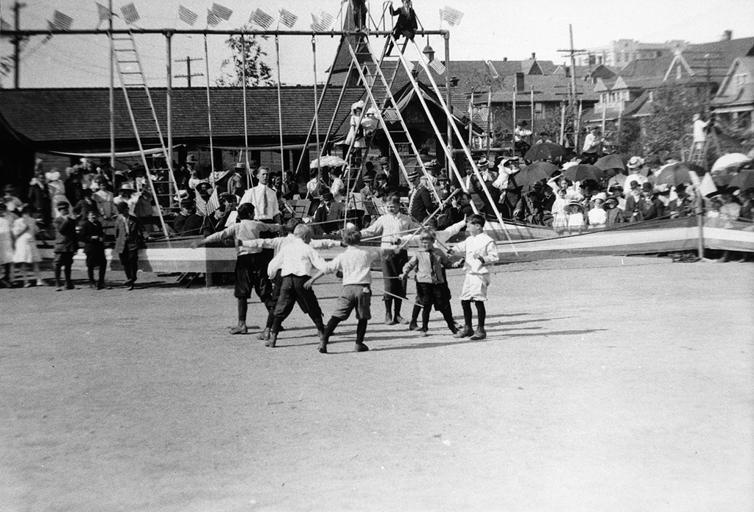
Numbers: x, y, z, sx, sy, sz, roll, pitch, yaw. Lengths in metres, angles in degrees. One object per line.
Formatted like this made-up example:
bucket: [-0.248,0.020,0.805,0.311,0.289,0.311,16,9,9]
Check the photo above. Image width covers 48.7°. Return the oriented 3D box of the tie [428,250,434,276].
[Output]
tie: [0.905,0.099,13.727,0.120,0.420,0.060,-1,14,1]

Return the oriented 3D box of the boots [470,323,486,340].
boots: [1.658,1.200,13.602,0.260,0.231,0.512,1,13,9]

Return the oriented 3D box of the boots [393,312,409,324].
boots: [0.434,1.154,15.286,0.273,0.181,0.122,-5,-2,6]

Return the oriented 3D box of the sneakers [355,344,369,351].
sneakers: [-0.252,1.411,13.054,0.194,0.126,0.106,-6,10,-27]

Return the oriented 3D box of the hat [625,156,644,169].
hat: [7.539,-2.721,24.329,0.557,0.332,0.875,-3,4,27]

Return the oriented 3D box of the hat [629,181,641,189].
hat: [6.577,-1.821,21.223,0.214,0.084,0.219,-46,-32,20]

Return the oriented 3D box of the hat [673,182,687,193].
hat: [8.054,-1.810,22.066,0.316,0.109,0.287,-2,0,29]

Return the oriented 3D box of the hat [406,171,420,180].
hat: [1.014,-2.257,23.087,0.480,0.178,0.483,0,5,29]

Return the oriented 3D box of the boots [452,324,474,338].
boots: [1.427,1.241,13.754,0.407,0.281,0.147,4,2,35]
